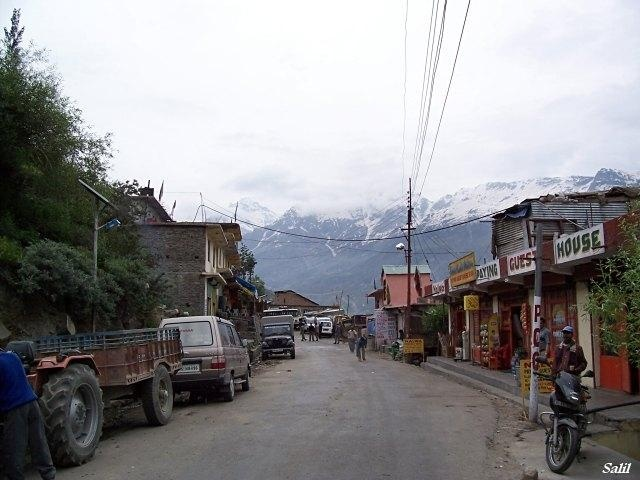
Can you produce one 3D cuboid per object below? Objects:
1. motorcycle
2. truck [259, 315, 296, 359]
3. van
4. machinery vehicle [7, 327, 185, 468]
[{"bbox_3d":[4.210,3.077,8.955,0.712,1.492,1.455,-8,-10,27],"label":"motorcycle"},{"bbox_3d":[-2.922,6.570,35.797,1.558,2.162,3.519,-1,-14,-1],"label":"truck"},{"bbox_3d":[-3.213,3.404,15.658,1.513,1.662,3.220,-2,-4,8],"label":"van"},{"bbox_3d":[-4.330,2.788,10.058,1.596,1.477,3.725,-5,-14,7],"label":"machinery vehicle"}]
